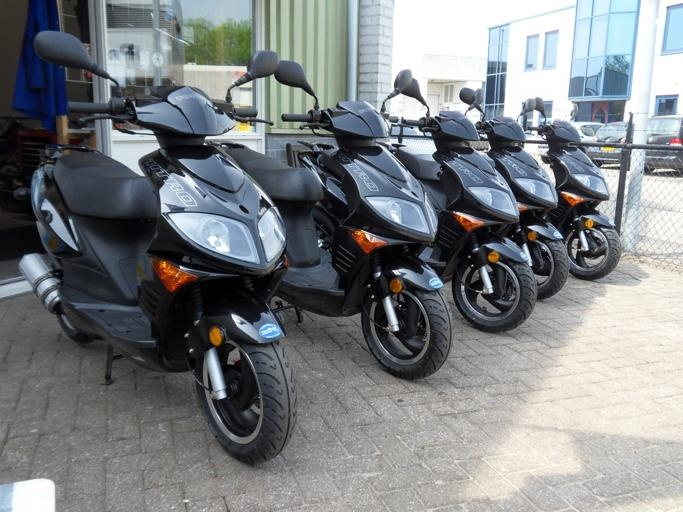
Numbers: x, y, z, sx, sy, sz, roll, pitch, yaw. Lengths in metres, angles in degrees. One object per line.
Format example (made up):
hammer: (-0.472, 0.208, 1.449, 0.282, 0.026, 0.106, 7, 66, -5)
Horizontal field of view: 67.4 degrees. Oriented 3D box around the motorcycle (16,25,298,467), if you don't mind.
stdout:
motorcycle: (-0.994, 0.109, 2.864, 2.017, 1.590, 0.641, 17, 26, 36)
